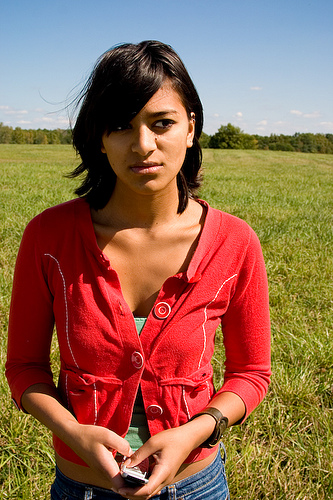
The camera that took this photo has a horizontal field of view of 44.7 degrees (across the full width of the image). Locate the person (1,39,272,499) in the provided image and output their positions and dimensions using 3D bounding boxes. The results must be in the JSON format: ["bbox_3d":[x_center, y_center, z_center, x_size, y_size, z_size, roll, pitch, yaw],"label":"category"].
[{"bbox_3d":[-0.059,0.091,1.316,0.719,1.451,0.735,9,14,33],"label":"person"}]

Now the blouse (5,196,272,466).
[{"bbox_3d":[-0.069,0.207,1.263,0.843,0.674,0.452,-2,12,-14],"label":"blouse"}]
